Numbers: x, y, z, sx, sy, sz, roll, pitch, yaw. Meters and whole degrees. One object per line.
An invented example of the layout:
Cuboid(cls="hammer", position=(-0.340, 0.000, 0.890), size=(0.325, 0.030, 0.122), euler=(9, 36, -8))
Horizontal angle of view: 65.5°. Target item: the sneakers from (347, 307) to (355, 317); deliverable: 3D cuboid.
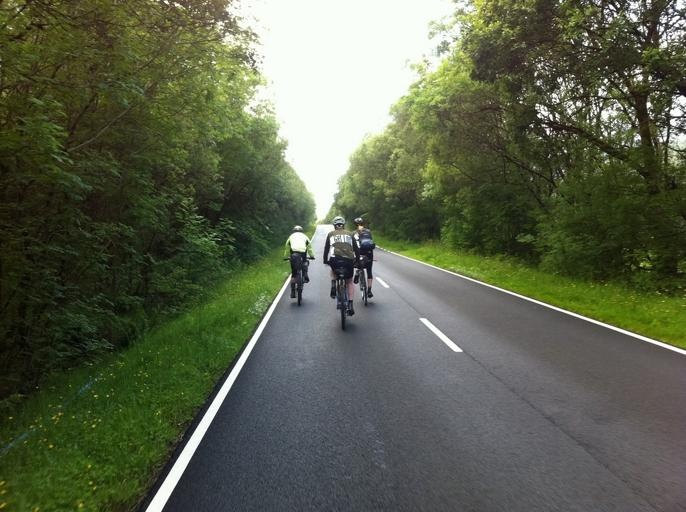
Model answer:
Cuboid(cls="sneakers", position=(0.164, 1.320, 12.417), size=(0.138, 0.187, 0.180), euler=(1, 5, 22))

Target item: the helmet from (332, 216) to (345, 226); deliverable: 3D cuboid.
Cuboid(cls="helmet", position=(-0.104, -0.826, 13.341), size=(0.222, 0.303, 0.305), euler=(5, 12, -1))

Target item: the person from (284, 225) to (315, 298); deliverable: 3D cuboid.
Cuboid(cls="person", position=(-1.344, -0.103, 15.038), size=(0.890, 1.326, 2.031), euler=(-6, 26, -8))

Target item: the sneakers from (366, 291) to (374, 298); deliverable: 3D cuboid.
Cuboid(cls="sneakers", position=(0.719, 1.065, 14.541), size=(0.135, 0.188, 0.397), euler=(-2, -13, -1))

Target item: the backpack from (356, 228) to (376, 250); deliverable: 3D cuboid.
Cuboid(cls="backpack", position=(0.609, -0.456, 14.440), size=(0.437, 0.639, 0.564), euler=(-3, 8, -15))
